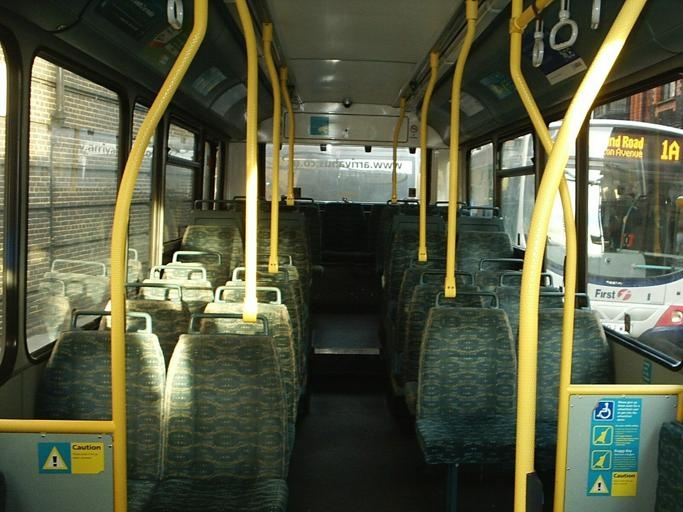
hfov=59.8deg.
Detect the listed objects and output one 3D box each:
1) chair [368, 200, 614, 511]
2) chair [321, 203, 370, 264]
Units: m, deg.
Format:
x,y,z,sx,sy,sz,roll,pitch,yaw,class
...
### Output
x,y,z,sx,sy,sz,roll,pitch,yaw,class
0.953,0.669,4.505,1.206,1.302,2.023,2,-3,-1,chair
0.058,-0.363,9.127,0.905,0.983,0.803,0,4,-6,chair
